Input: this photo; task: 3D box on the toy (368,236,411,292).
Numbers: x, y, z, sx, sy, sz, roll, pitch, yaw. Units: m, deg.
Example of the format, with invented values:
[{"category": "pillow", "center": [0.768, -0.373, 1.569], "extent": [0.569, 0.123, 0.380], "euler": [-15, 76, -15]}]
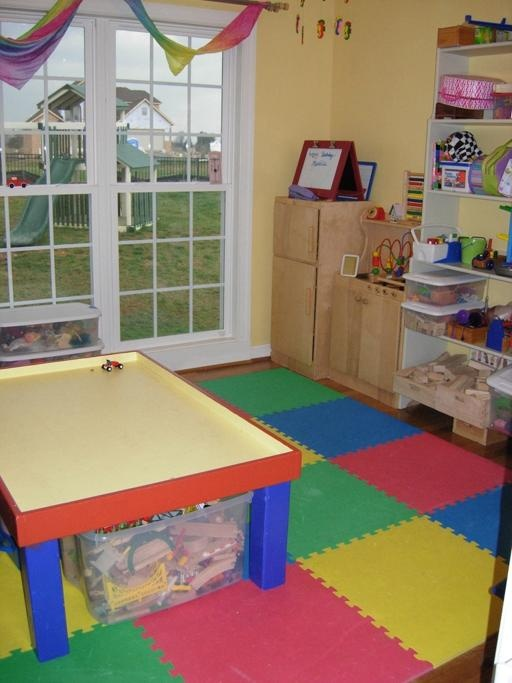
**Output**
[{"category": "toy", "center": [0.918, -0.528, 3.762], "extent": [0.215, 0.368, 0.383], "euler": [-2, 15, -23]}]

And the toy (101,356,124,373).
[{"category": "toy", "center": [-0.608, 0.100, 2.290], "extent": [0.059, 0.041, 0.058], "euler": [2, 2, -27]}]

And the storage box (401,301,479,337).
[{"category": "storage box", "center": [1.111, -0.179, 3.276], "extent": [0.333, 0.139, 0.233], "euler": [-10, 19, -27]}]

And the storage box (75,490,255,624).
[{"category": "storage box", "center": [-0.286, 0.641, 1.745], "extent": [0.472, 0.290, 0.346], "euler": [-11, 19, -29]}]
